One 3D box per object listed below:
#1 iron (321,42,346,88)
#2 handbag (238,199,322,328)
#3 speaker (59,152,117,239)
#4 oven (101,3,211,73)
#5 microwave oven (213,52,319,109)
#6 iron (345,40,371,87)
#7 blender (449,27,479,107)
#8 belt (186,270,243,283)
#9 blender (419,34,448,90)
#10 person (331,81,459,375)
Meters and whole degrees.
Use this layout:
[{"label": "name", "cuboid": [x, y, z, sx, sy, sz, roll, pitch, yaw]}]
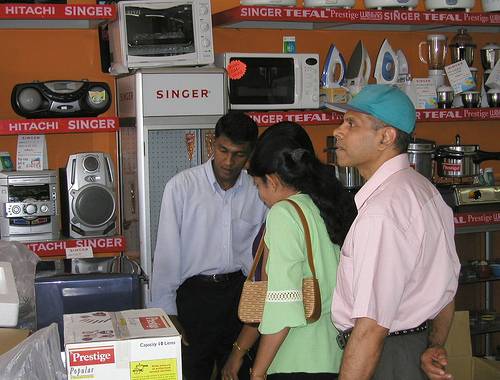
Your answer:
[{"label": "iron", "cuboid": [0.578, -0.848, 3.738, 0.180, 0.411, 0.190, -8, 17, -32]}, {"label": "handbag", "cuboid": [0.107, 0.273, 1.909, 0.303, 0.501, 0.076, 1, 26, -5]}, {"label": "speaker", "cuboid": [-0.999, 0.044, 3.331, 0.328, 0.541, 0.301, -1, -8, -34]}, {"label": "oven", "cuboid": [-0.577, -0.809, 3.303, 0.593, 0.471, 0.454, -2, 1, -19]}, {"label": "microwave oven", "cuboid": [0.124, -0.665, 3.630, 0.652, 0.427, 0.417, -3, -11, -5]}, {"label": "iron", "cuboid": [0.769, -0.901, 3.751, 0.174, 0.345, 0.167, -4, 2, 4]}, {"label": "blender", "cuboid": [1.659, -0.955, 4.014, 0.249, 0.632, 0.230, -4, 2, -1]}, {"label": "belt", "cuboid": [-0.181, 0.440, 2.653, 0.285, 0.042, 0.064, -5, 2, -11]}, {"label": "blender", "cuboid": [1.480, -1.004, 4.160, 0.225, 0.494, 0.180, -17, 26, -19]}, {"label": "person", "cuboid": [0.484, 0.126, 1.772, 0.422, 1.003, 0.383, -3, 2, 16]}]
